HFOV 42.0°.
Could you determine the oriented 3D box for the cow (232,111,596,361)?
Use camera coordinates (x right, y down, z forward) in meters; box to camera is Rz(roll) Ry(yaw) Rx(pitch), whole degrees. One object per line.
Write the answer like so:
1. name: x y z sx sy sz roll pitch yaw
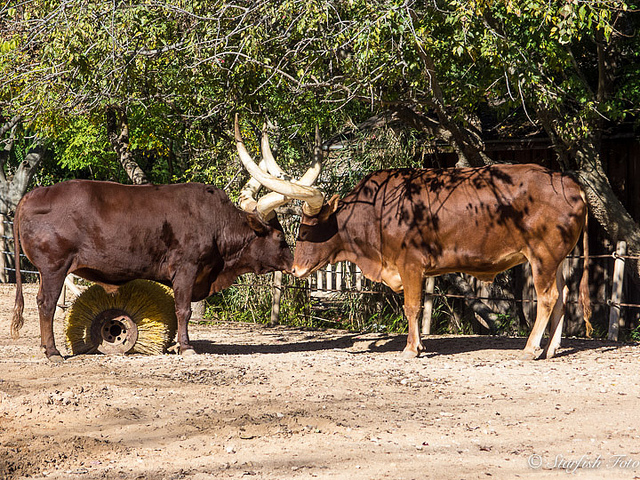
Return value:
1. cow: 1.399 0.248 10.396 3.577 2.351 0.885 1 5 7
